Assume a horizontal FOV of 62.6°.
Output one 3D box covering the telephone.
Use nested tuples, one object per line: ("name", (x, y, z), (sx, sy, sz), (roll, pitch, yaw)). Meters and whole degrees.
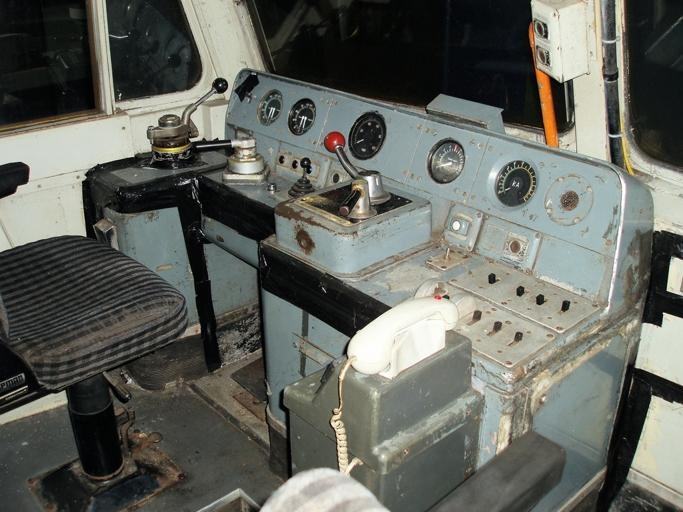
("telephone", (0.185, 0.217, 1.589), (0.390, 0.157, 0.111), (-21, 28, -31))
